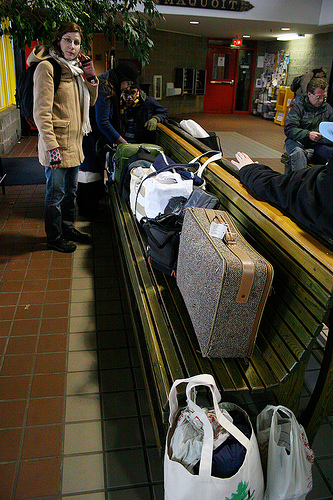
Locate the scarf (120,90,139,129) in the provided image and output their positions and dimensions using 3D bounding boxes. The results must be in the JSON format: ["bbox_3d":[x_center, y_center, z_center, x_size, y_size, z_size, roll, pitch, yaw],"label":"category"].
[{"bbox_3d":[-0.434,-1.586,3.689,0.211,0.317,0.137,12,14,33],"label":"scarf"}]

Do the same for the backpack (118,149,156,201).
[{"bbox_3d":[-0.239,-0.594,2.518,0.251,0.471,0.344,11,48,-13],"label":"backpack"}]

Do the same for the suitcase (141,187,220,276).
[{"bbox_3d":[0.067,-0.079,1.665,0.369,0.392,0.368,4,28,-4],"label":"suitcase"}]

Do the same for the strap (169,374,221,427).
[{"bbox_3d":[0.092,0.360,0.806,0.083,0.101,0.064,-8,2,6],"label":"strap"}]

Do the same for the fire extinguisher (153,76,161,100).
[{"bbox_3d":[-0.367,-6.070,11.923,0.355,0.769,0.214,-6,27,-19],"label":"fire extinguisher"}]

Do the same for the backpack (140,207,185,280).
[{"bbox_3d":[0.028,-0.066,1.670,0.266,0.302,0.290,-11,38,-18],"label":"backpack"}]

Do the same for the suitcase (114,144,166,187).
[{"bbox_3d":[-0.294,-0.872,3.253,0.439,0.404,0.457,-1,24,-16],"label":"suitcase"}]

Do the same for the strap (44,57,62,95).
[{"bbox_3d":[-0.862,-1.377,2.512,0.114,0.243,0.082,-17,32,-36],"label":"strap"}]

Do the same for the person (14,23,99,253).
[{"bbox_3d":[-0.944,-0.916,2.893,0.500,1.888,0.663,12,26,17],"label":"person"}]

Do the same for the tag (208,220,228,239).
[{"bbox_3d":[0.184,-0.075,1.168,0.052,0.043,0.053,29,13,20],"label":"tag"}]

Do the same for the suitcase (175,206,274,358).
[{"bbox_3d":[0.197,0.119,1.102,0.145,0.355,0.429,-1,39,-13],"label":"suitcase"}]
